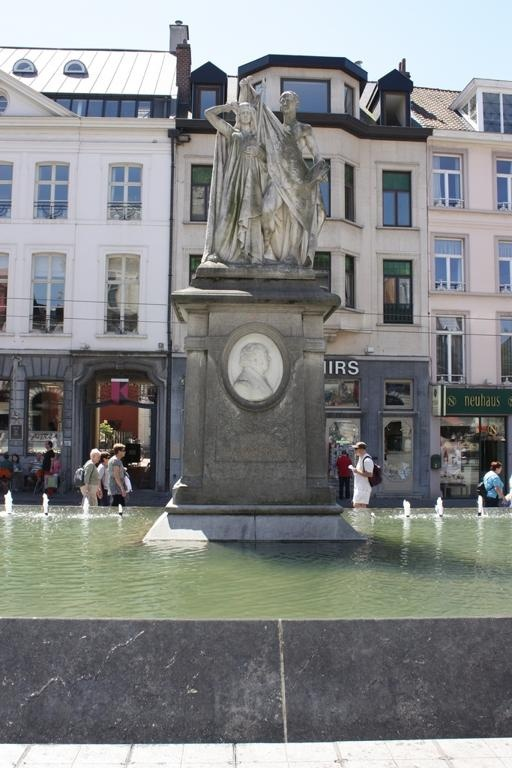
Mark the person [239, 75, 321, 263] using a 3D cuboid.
[{"bbox_3d":[0.237,-1.858,8.056,0.755,1.631,0.685,1,6,0],"label":"person"}]
